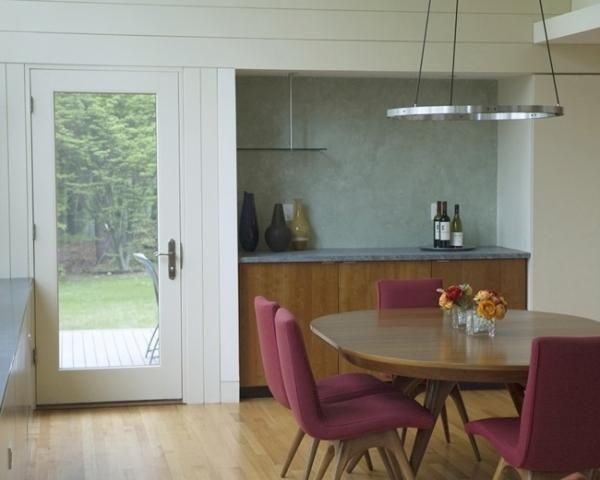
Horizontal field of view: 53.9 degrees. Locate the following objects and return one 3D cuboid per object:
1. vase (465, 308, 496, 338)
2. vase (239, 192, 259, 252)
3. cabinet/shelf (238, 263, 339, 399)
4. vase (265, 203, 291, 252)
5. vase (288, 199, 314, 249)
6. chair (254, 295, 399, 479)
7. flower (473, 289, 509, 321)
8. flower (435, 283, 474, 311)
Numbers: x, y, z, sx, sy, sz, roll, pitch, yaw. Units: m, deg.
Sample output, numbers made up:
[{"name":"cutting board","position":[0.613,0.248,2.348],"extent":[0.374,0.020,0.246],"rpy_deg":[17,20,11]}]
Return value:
[{"name":"vase","position":[0.926,0.422,3.001],"extent":[0.115,0.131,0.125],"rpy_deg":[0,-3,3]},{"name":"vase","position":[-0.450,-0.150,4.865],"extent":[0.228,0.496,0.149],"rpy_deg":[4,6,36]},{"name":"cabinet/shelf","position":[-0.073,0.529,3.825],"extent":[0.885,1.045,0.511],"rpy_deg":[-1,1,-12]},{"name":"vase","position":[-0.170,-0.105,4.872],"extent":[0.228,0.392,0.191],"rpy_deg":[-2,5,-18]},{"name":"vase","position":[0.016,-0.136,4.995],"extent":[0.191,0.427,0.194],"rpy_deg":[0,5,2]},{"name":"chair","position":[0.090,0.746,3.742],"extent":[0.881,1.617,0.803],"rpy_deg":[-4,1,-8]},{"name":"flower","position":[0.976,0.336,3.005],"extent":[0.136,0.155,0.068],"rpy_deg":[-2,-8,-2]},{"name":"flower","position":[0.828,0.288,3.094],"extent":[0.148,0.123,0.175],"rpy_deg":[-3,-16,29]}]
